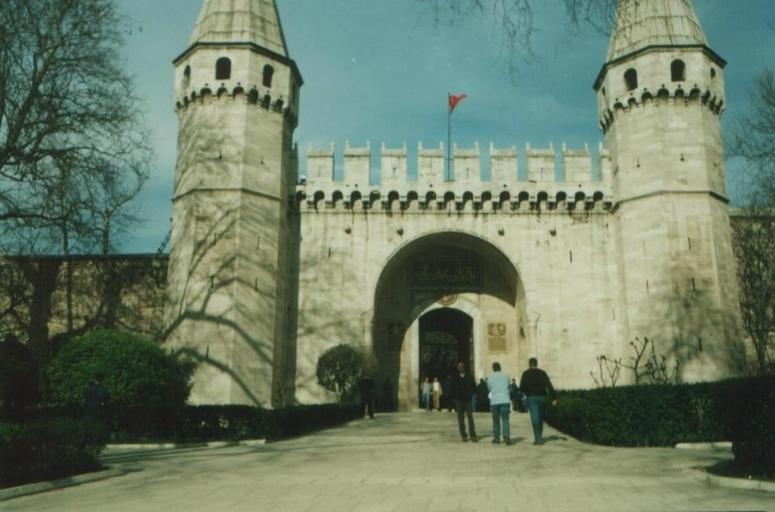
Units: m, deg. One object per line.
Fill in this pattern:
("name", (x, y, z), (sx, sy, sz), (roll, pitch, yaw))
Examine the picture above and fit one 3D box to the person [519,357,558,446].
("person", (4.510, 4.390, 30.976), (1.159, 2.756, 1.068), (-5, -5, 13))
